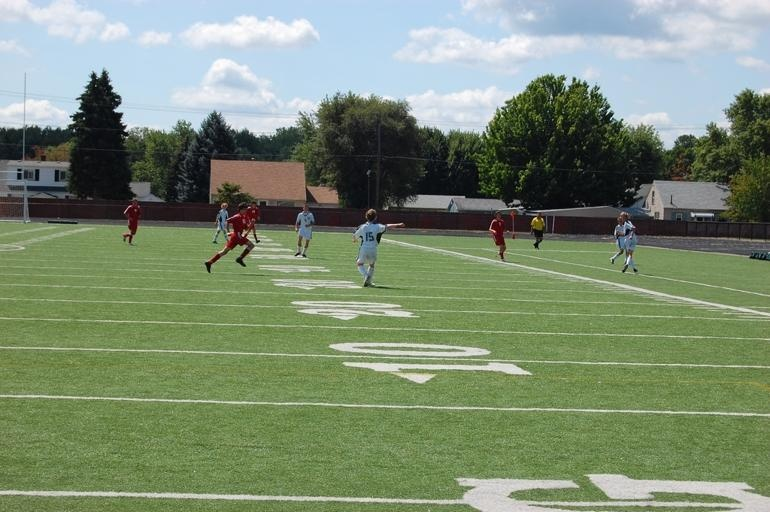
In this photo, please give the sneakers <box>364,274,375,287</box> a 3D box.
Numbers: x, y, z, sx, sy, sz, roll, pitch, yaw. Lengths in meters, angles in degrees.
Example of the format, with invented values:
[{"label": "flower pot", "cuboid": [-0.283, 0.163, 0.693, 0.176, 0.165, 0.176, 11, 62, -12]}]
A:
[{"label": "sneakers", "cuboid": [-0.365, 0.610, 23.420, 0.138, 0.367, 0.157, 14, 34, -4]}]
